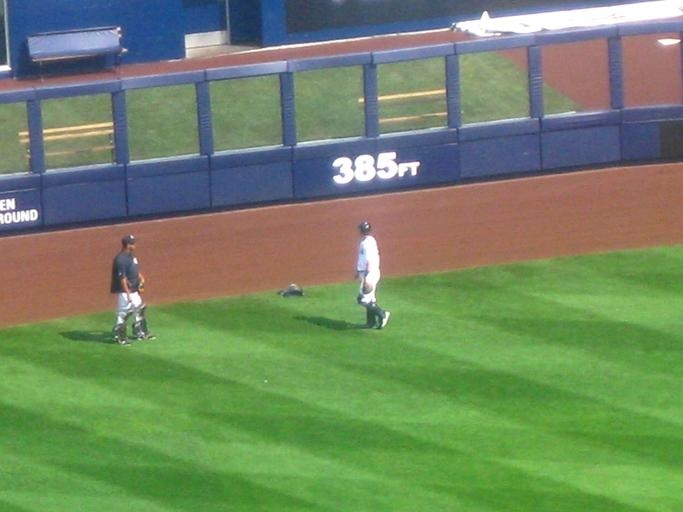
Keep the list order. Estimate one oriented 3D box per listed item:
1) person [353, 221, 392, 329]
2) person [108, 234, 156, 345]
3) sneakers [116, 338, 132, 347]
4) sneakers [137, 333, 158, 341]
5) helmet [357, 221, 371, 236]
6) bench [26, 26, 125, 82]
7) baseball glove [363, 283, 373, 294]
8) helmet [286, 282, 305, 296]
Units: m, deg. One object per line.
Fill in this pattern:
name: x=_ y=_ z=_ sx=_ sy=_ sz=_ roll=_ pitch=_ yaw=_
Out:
person: x=0.581 y=0.332 z=30.248 sx=0.538 sy=1.764 sz=0.839 roll=-2 pitch=17 yaw=0
person: x=-3.705 y=0.568 z=30.070 sx=0.713 sy=1.810 sz=0.909 roll=-1 pitch=17 yaw=5
sneakers: x=-3.805 y=1.489 z=29.946 sx=0.271 sy=0.115 sz=0.227 roll=-5 pitch=15 yaw=-12
sneakers: x=-3.410 y=1.429 z=30.205 sx=0.379 sy=0.133 sz=0.116 roll=-6 pitch=4 yaw=-4
helmet: x=0.453 y=-0.517 z=30.455 sx=0.237 sy=0.234 sz=0.273 roll=9 pitch=-16 yaw=-1
bench: x=-5.639 y=-4.656 z=37.303 sx=2.380 sy=1.093 sz=0.687 roll=-5 pitch=-16 yaw=-38
baseball glove: x=0.477 y=0.567 z=30.087 sx=0.179 sy=0.146 sz=0.114 roll=1 pitch=1 yaw=3
helmet: x=-0.840 y=0.648 z=32.022 sx=0.221 sy=0.113 sz=0.382 roll=24 pitch=7 yaw=10
